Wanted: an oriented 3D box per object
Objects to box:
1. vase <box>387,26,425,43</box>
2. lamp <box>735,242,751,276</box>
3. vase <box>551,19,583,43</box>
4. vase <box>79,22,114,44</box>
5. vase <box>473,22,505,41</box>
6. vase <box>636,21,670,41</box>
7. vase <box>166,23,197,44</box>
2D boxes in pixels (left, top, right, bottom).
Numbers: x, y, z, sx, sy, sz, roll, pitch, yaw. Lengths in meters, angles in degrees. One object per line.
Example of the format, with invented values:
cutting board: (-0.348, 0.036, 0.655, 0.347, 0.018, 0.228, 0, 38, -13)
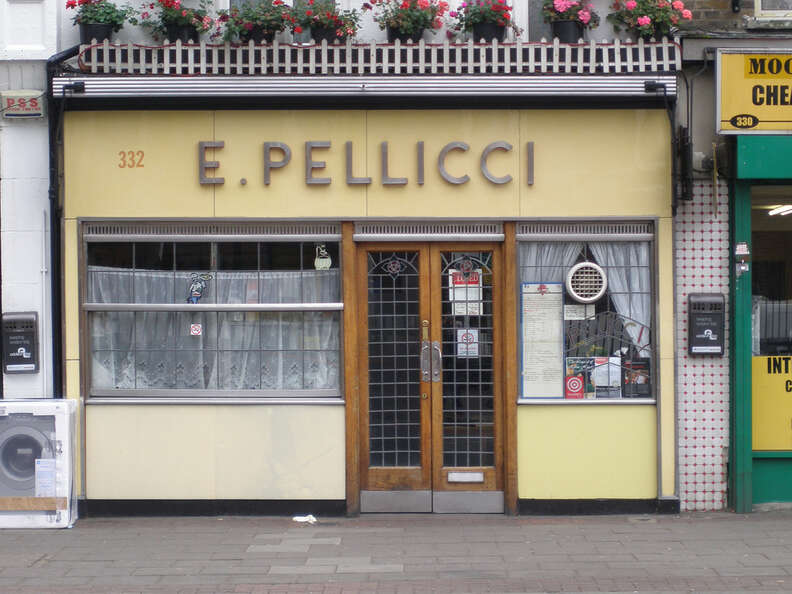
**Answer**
vase: (0.110, -2.929, 19.574, 0.368, 0.227, 0.193, 1, -33, -1)
lamp: (3.952, -0.418, 19.560, 0.226, 0.341, 0.109, -2, -1, -36)
vase: (1.943, -2.974, 19.535, 0.274, 0.195, 0.277, 0, -2, 22)
vase: (-3.396, -2.960, 19.587, 0.261, 0.204, 0.270, -1, 4, -29)
vase: (1.067, -2.946, 19.557, 0.251, 0.159, 0.228, 0, 3, -16)
vase: (2.926, -2.978, 19.474, 0.262, 0.268, 0.188, 5, 4, 3)
vase: (-2.429, -2.956, 19.617, 0.262, 0.164, 0.254, 0, -3, 26)
